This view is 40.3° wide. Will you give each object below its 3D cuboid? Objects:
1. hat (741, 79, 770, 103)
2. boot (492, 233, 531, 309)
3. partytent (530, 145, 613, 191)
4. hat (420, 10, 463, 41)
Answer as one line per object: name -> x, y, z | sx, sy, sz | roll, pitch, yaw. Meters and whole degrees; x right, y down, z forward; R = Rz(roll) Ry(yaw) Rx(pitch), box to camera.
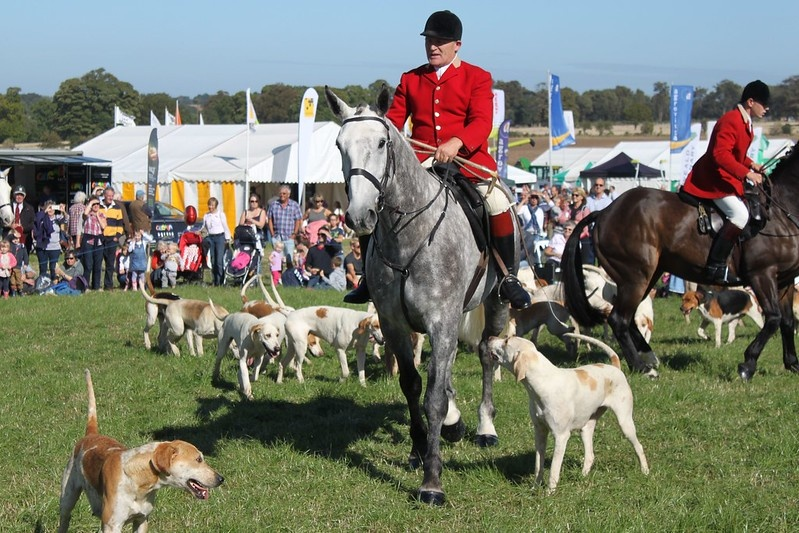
hat -> 6.593, -3.199, 20.181 | 0.511, 0.439, 0.397 | 2, 8, 18
boot -> 1.812, 0.138, 17.985 | 0.293, 1.167, 0.737 | -20, -11, 28
partytent -> 11.426, -5.945, 66.062 | 4.833, 1.172, 5.474 | -15, -15, 36
hat -> 0.692, -3.798, 17.328 | 0.566, 0.457, 0.371 | -1, 7, -3
